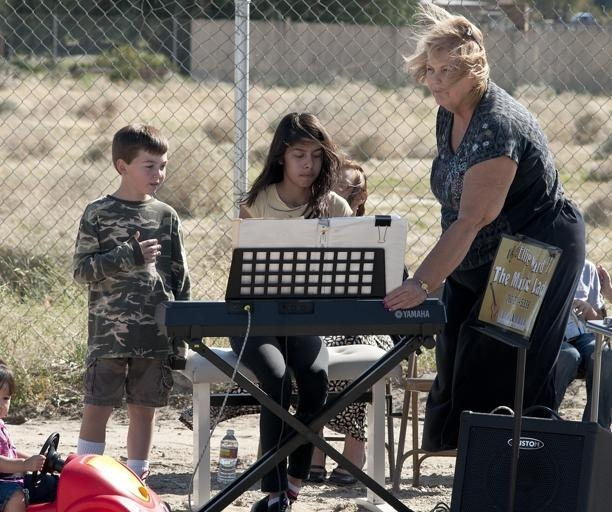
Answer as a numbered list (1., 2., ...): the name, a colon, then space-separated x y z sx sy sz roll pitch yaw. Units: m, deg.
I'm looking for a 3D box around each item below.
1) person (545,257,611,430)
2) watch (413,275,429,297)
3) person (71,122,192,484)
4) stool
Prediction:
1. person: 1.952 0.688 9.492 0.514 1.264 0.530 0 10 -7
2. watch: 0.692 0.186 8.094 0.092 0.041 0.107 33 22 -30
3. person: -1.192 0.250 9.051 0.723 2.505 0.703 1 2 38
4. stool: -0.186 1.008 9.144 1.086 1.293 1.115 0 11 -16
